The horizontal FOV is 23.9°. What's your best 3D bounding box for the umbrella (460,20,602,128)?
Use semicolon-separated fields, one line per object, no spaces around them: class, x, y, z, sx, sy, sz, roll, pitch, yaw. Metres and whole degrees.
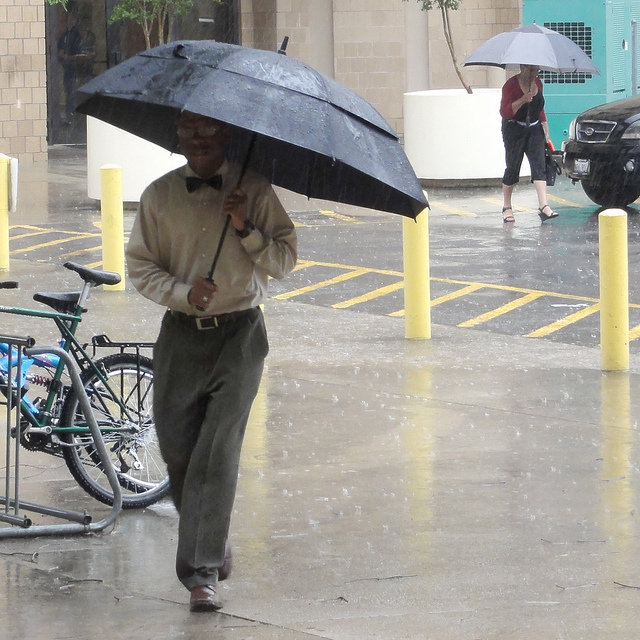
umbrella;2.409;-2.928;17.614;1.364;1.042;1.482;12;16;26

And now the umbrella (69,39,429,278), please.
umbrella;-0.288;-0.679;6.199;1.053;0.913;1.372;-8;14;-36

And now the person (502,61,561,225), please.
person;2.382;-2.021;17.086;0.642;1.809;1.393;2;11;10

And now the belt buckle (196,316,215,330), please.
belt buckle;-0.469;0.008;6.026;0.056;0.051;0.015;-6;10;3

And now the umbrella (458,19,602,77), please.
umbrella;2.585;-3.144;17.502;1.374;0.507;1.388;8;8;18
